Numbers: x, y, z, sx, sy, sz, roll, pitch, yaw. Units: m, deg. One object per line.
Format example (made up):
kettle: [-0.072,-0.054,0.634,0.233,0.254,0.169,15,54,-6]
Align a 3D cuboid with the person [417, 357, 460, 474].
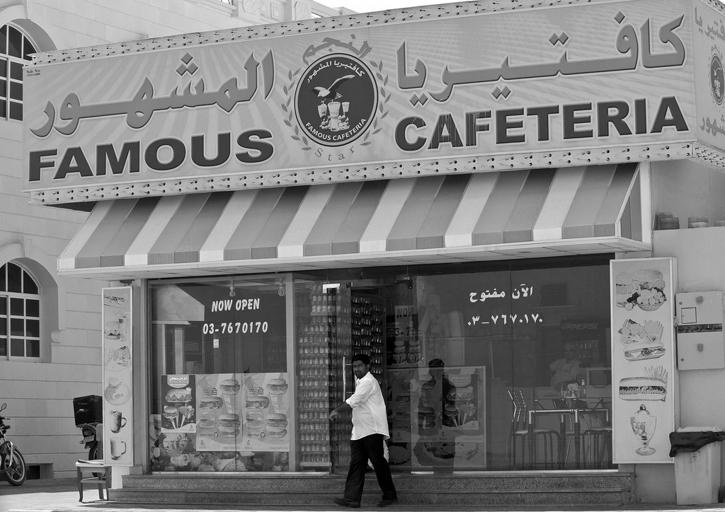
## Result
person: [1.479,2.868,32.869,0.737,1.927,0.575,-7,-5,44]

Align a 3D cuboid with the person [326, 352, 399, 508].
person: [0.033,3.021,32.060,0.963,2.630,0.563,-2,-9,-2]

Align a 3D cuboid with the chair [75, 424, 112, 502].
chair: [-4.962,3.916,34.697,0.787,1.653,0.664,-3,-6,28]
